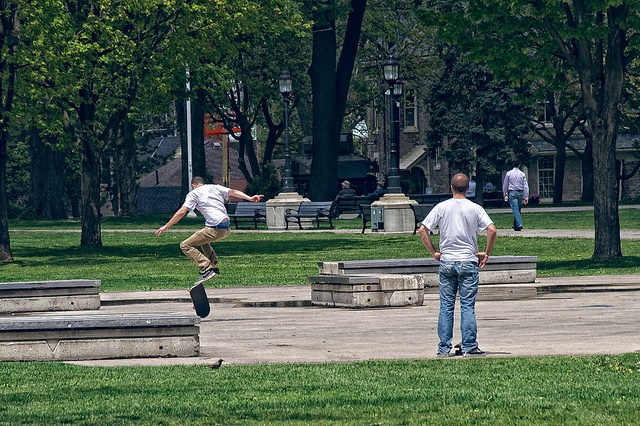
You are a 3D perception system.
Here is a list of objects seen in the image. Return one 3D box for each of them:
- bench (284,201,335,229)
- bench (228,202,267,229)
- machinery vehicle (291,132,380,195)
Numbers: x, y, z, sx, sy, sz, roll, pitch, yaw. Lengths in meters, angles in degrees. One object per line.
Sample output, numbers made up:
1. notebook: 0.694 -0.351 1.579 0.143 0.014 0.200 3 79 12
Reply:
1. bench: -0.451 0.270 73.771 2.323 1.155 0.958 -2 -2 31
2. bench: -3.174 0.220 77.415 1.770 1.042 0.796 -3 9 41
3. machinery vehicle: 0.488 -2.463 95.282 5.594 3.129 3.246 -2 10 5
